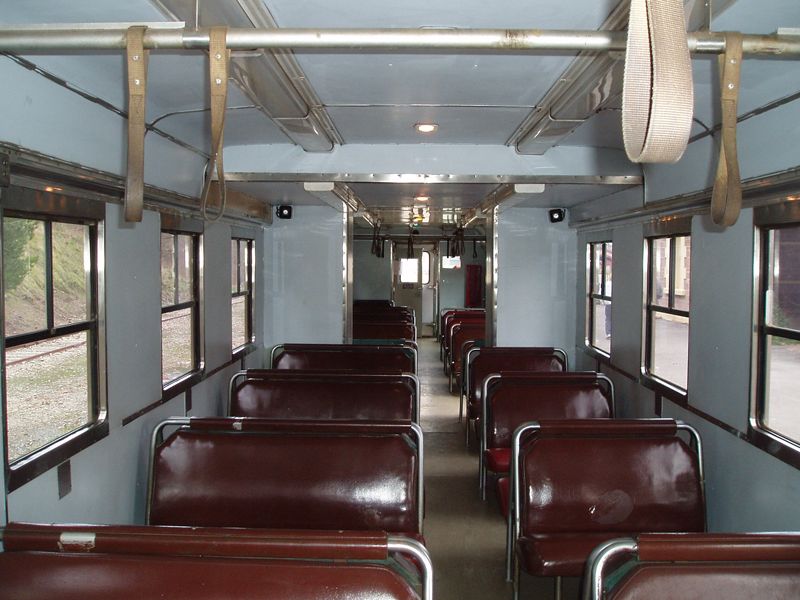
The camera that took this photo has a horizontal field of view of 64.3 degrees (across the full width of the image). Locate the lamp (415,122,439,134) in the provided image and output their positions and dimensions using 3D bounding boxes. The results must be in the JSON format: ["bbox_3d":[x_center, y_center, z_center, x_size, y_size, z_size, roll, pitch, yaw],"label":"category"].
[{"bbox_3d":[0.250,-1.590,5.917,0.213,0.340,0.133,-2,-67,-1],"label":"lamp"}]

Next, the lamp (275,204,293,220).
[{"bbox_3d":[-1.648,-1.242,9.057,0.187,0.187,0.198,0,-92,-9],"label":"lamp"}]

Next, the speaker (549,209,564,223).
[{"bbox_3d":[2.207,-1.174,8.877,0.227,0.125,0.184,5,-68,-5],"label":"speaker"}]

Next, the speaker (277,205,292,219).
[{"bbox_3d":[-1.649,-1.253,9.101,0.226,0.149,0.214,4,-68,-4],"label":"speaker"}]
